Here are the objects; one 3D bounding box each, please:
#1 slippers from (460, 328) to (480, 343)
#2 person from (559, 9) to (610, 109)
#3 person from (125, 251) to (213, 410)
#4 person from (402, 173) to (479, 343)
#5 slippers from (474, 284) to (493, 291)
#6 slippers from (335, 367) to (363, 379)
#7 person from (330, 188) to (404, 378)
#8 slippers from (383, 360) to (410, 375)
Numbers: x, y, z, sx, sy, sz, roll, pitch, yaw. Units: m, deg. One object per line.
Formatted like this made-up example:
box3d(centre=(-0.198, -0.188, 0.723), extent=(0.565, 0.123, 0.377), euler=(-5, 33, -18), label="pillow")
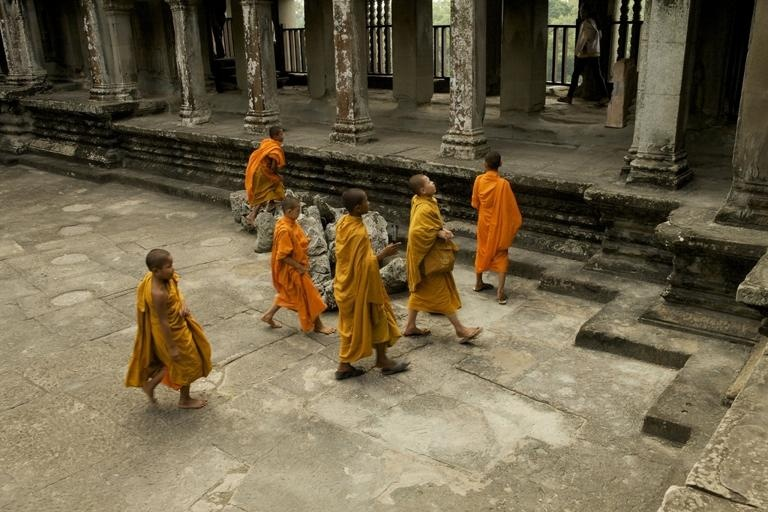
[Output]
box3d(centre=(0.851, 0.776, 5.375), extent=(0.220, 0.072, 0.115), euler=(-22, 11, 46), label="slippers")
box3d(centre=(4.159, -4.093, 11.240), extent=(0.981, 1.835, 1.323), euler=(5, 24, 15), label="person")
box3d(centre=(-1.955, 0.717, 4.939), extent=(0.824, 1.544, 0.545), euler=(4, 43, -8), label="person")
box3d(centre=(0.565, 0.042, 5.356), extent=(0.755, 1.594, 0.555), euler=(3, 25, 10), label="person")
box3d(centre=(1.164, 0.371, 6.408), extent=(0.192, 0.047, 0.081), euler=(-13, 26, -23), label="slippers")
box3d(centre=(-0.323, 1.068, 4.982), extent=(0.239, 0.064, 0.096), euler=(-12, 22, -25), label="slippers")
box3d(centre=(-0.144, 0.257, 4.898), extent=(0.612, 1.629, 0.593), euler=(-5, 25, -6), label="person")
box3d(centre=(0.104, 1.035, 5.089), extent=(0.262, 0.097, 0.094), euler=(-10, 25, -6), label="slippers")
